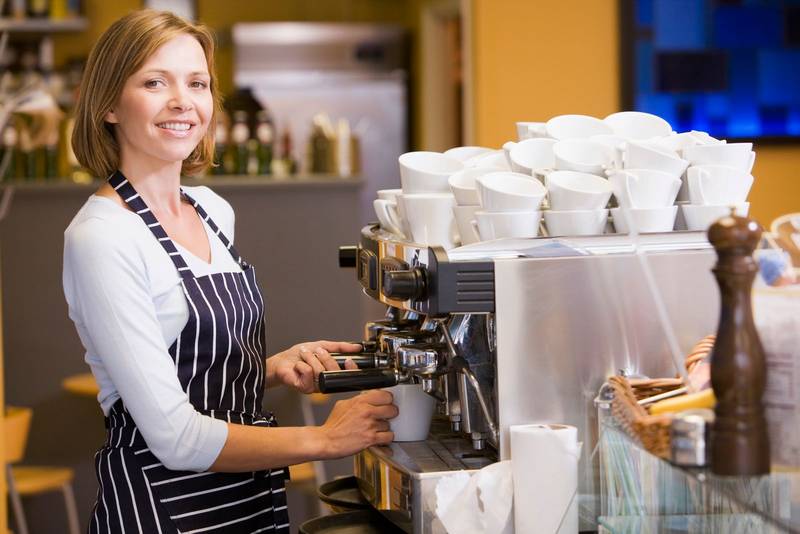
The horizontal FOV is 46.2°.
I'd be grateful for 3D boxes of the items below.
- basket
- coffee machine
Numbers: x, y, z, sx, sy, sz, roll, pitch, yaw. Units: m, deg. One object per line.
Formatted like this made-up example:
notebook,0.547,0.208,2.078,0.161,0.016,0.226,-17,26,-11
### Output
basket,0.465,0.229,1.687,0.158,0.077,0.212,-14,13,38
coffee machine,0.295,0.197,1.927,0.690,0.526,0.530,0,0,-6
